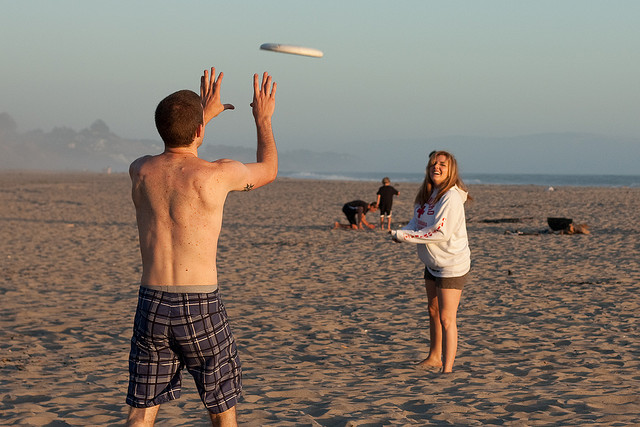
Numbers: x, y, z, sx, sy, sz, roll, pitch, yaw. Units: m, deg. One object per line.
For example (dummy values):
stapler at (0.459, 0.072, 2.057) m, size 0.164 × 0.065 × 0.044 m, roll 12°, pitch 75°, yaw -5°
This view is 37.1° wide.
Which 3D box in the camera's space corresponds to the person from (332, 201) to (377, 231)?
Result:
person at (0.846, 0.039, 22.411) m, size 0.964 × 0.713 × 1.471 m, roll 2°, pitch 11°, yaw 7°

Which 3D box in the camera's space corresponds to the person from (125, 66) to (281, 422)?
person at (-1.364, 0.471, 10.504) m, size 1.482 × 3.574 × 0.893 m, roll 1°, pitch 13°, yaw 0°
